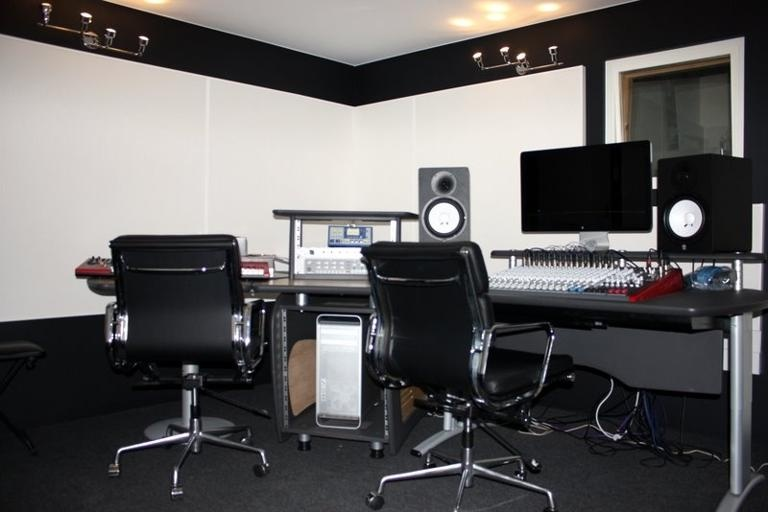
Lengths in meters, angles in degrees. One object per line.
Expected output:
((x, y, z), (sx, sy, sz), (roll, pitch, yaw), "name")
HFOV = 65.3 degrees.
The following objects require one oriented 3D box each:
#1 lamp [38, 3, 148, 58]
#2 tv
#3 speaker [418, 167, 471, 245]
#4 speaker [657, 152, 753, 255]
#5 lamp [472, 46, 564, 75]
((-2.218, -1.753, 4.617), (0.781, 0.364, 0.209), (-6, 12, -30), "lamp")
((1.439, -0.434, 4.265), (0.882, 0.701, 0.283), (0, 7, 25), "tv")
((0.494, -0.438, 4.938), (0.435, 0.585, 0.326), (1, 10, 5), "speaker")
((2.195, -0.350, 4.078), (0.580, 0.650, 0.417), (0, 0, -39), "speaker")
((1.156, -1.644, 5.167), (0.890, 0.325, 0.274), (9, 23, 37), "lamp")
